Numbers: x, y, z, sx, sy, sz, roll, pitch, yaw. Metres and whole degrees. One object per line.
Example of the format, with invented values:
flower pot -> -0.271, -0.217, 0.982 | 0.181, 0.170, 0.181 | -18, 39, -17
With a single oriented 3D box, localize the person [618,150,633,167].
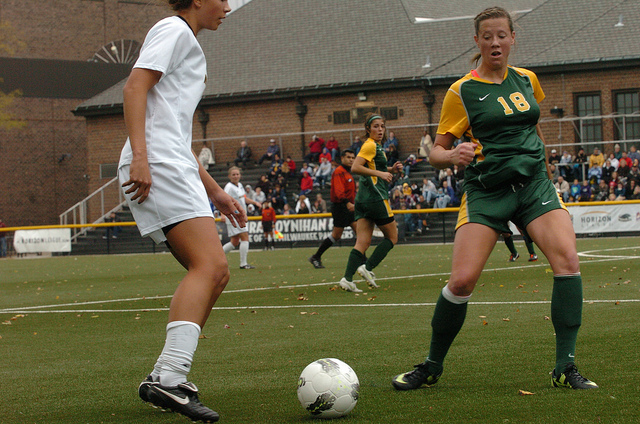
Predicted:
person -> 10.300, -1.815, 32.596 | 0.397, 0.926, 0.391 | -11, -47, 21

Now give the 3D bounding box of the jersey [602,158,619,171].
jersey -> 10.001, -1.670, 32.780 | 0.367, 0.449, 0.168 | -4, 9, 20

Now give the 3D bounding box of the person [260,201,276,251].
person -> -1.797, 0.425, 33.599 | 0.449, 1.646, 0.409 | -3, 10, -2

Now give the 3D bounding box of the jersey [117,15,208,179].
jersey -> -2.142, -1.625, 13.633 | 1.154, 2.123, 1.757 | 5, -6, 1

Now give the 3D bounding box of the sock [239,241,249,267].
sock -> -1.956, 1.018, 24.703 | 0.198, 0.658, 0.431 | 0, 10, 17

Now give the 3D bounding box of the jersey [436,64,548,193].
jersey -> 2.633, -1.297, 14.029 | 1.916, 1.752, 1.107 | -11, 13, -19
